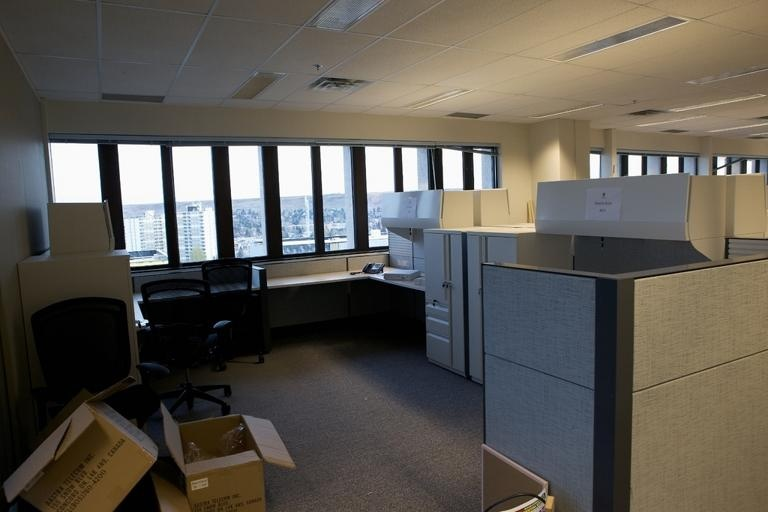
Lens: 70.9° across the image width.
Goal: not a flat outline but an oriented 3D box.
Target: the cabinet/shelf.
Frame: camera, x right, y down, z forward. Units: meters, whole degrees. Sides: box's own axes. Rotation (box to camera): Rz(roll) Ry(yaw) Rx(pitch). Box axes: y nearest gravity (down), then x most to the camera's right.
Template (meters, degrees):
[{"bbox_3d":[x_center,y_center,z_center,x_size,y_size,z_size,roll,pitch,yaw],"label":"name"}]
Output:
[{"bbox_3d":[0.968,0.478,5.268,0.430,1.470,1.414,-12,11,-37],"label":"cabinet/shelf"}]

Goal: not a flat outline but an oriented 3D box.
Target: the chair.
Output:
[{"bbox_3d":[-1.754,0.732,4.394,1.353,1.384,1.438,-3,8,-15],"label":"chair"}]
